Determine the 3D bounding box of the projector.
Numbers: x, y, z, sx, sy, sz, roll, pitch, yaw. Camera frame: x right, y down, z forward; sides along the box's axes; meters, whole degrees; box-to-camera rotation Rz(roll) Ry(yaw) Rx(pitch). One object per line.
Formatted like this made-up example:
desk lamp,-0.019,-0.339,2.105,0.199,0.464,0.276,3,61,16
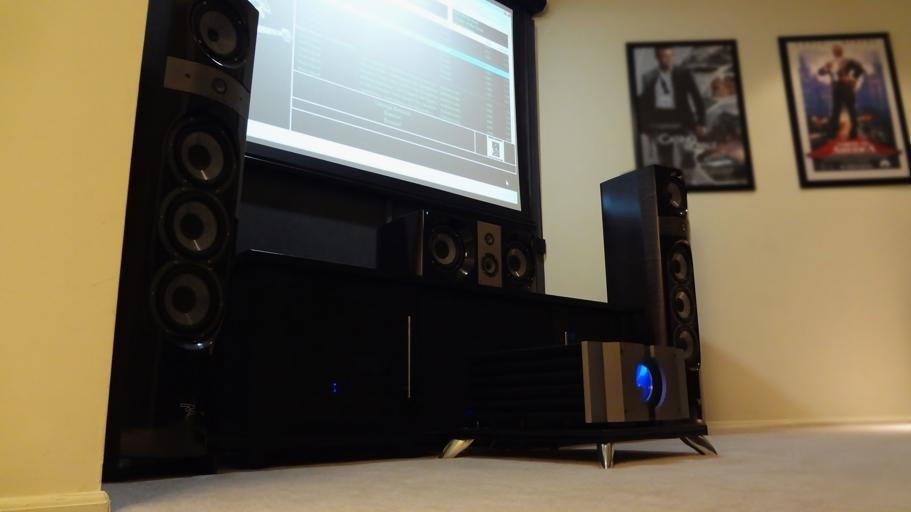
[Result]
projector,0.443,0.509,2.725,0.656,0.322,0.642,8,-16,-40

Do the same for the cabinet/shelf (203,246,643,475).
cabinet/shelf,-0.122,0.469,3.068,1.966,0.637,0.623,5,-23,-23
